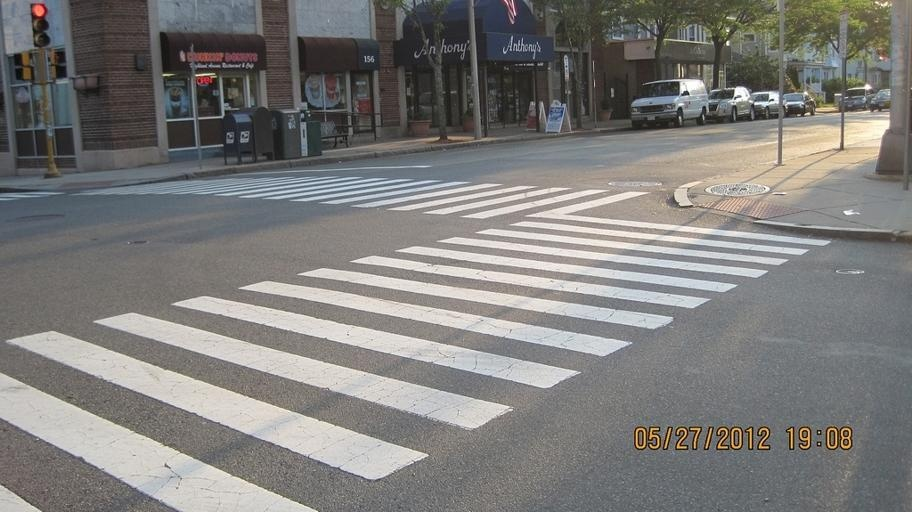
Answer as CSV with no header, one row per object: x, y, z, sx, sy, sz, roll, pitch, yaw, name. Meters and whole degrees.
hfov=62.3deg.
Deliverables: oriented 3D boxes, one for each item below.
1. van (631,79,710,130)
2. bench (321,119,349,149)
12.825,-9.125,44.801,2.559,2.202,4.808,5,13,39,van
-5.798,-5.743,35.451,0.984,1.413,1.846,1,6,24,bench
